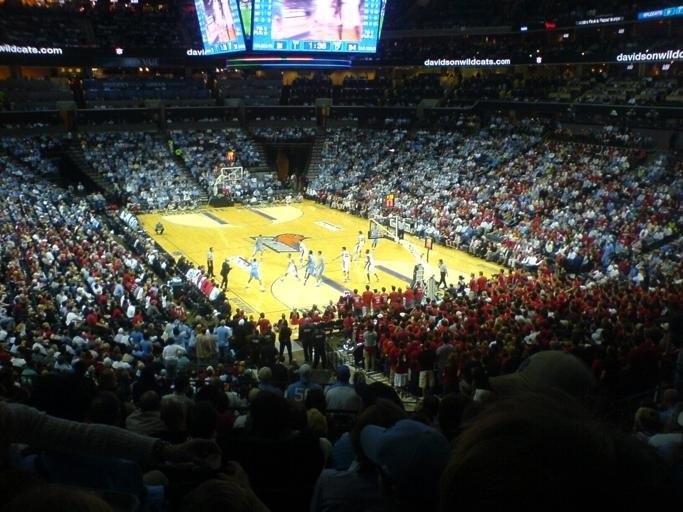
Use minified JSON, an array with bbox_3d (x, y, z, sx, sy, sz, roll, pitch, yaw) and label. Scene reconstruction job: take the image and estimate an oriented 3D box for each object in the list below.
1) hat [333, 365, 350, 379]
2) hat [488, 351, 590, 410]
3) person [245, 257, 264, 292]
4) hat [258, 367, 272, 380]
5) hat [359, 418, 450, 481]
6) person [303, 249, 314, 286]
[{"bbox_3d":[0.005,1.662,8.416,0.160,0.221,0.222,-14,-33,-8],"label":"hat"},{"bbox_3d":[1.016,0.632,2.852,0.446,0.209,0.779,1,5,26],"label":"hat"},{"bbox_3d":[-4.013,0.850,26.170,1.182,0.913,2.270,2,-29,-7],"label":"person"},{"bbox_3d":[-1.223,1.870,9.096,0.199,0.153,0.276,2,26,-9],"label":"hat"},{"bbox_3d":[0.345,0.959,2.837,0.375,0.242,0.159,0,5,13],"label":"hat"},{"bbox_3d":[-1.472,0.491,25.985,0.568,1.437,1.284,-1,4,-3],"label":"person"}]
